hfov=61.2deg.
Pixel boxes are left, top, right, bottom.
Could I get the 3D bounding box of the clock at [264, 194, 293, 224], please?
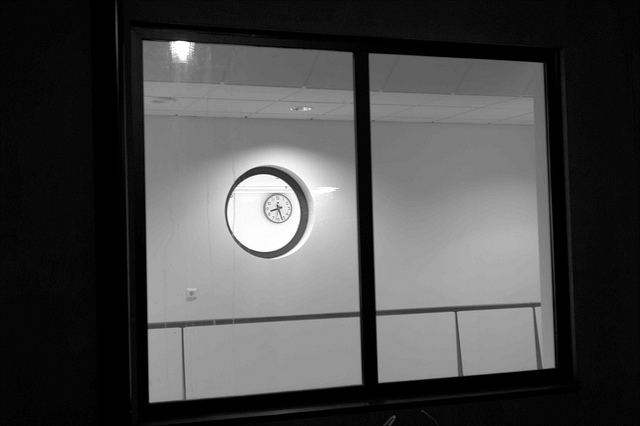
[{"bbox_3d":[-0.362,-0.039,4.707,0.276,0.024,0.246,0,-89,28],"label":"clock"}]
